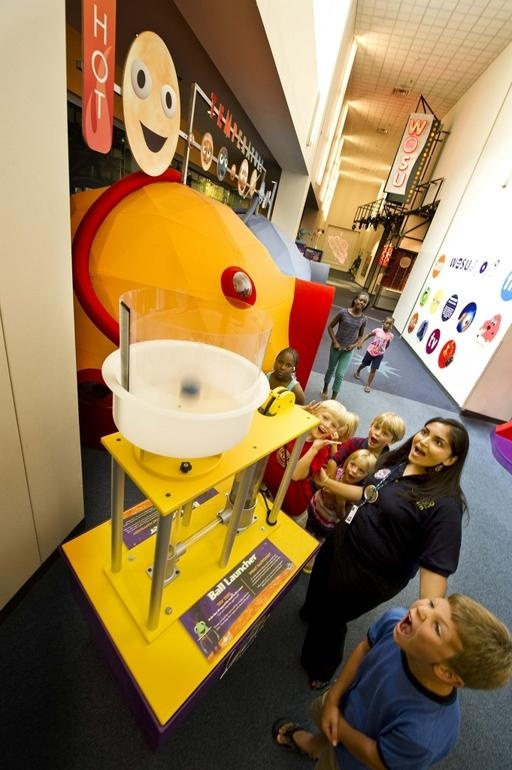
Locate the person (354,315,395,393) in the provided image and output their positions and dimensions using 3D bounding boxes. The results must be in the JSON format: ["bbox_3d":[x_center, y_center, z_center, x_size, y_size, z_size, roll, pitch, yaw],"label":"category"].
[{"bbox_3d":[1.229,-0.353,4.731,0.303,0.810,0.332,12,28,-2],"label":"person"}]
